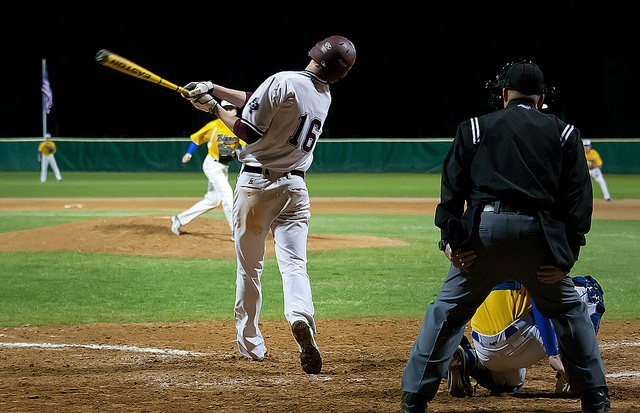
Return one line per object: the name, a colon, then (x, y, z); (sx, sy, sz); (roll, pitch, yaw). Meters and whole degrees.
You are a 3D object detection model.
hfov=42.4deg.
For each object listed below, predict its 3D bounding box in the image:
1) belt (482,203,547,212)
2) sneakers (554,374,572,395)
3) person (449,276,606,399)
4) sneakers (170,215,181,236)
belt: (2.316, 0.005, 9.996); (0.641, 0.150, 0.055); (-2, 5, 6)
sneakers: (3.138, 2.291, 10.689); (0.237, 0.233, 0.250); (-1, -16, -4)
person: (2.582, 1.613, 10.357); (1.138, 1.510, 1.284); (-8, 20, -42)
sneakers: (-2.883, 0.366, 16.493); (0.153, 0.411, 0.194); (0, 5, 10)
